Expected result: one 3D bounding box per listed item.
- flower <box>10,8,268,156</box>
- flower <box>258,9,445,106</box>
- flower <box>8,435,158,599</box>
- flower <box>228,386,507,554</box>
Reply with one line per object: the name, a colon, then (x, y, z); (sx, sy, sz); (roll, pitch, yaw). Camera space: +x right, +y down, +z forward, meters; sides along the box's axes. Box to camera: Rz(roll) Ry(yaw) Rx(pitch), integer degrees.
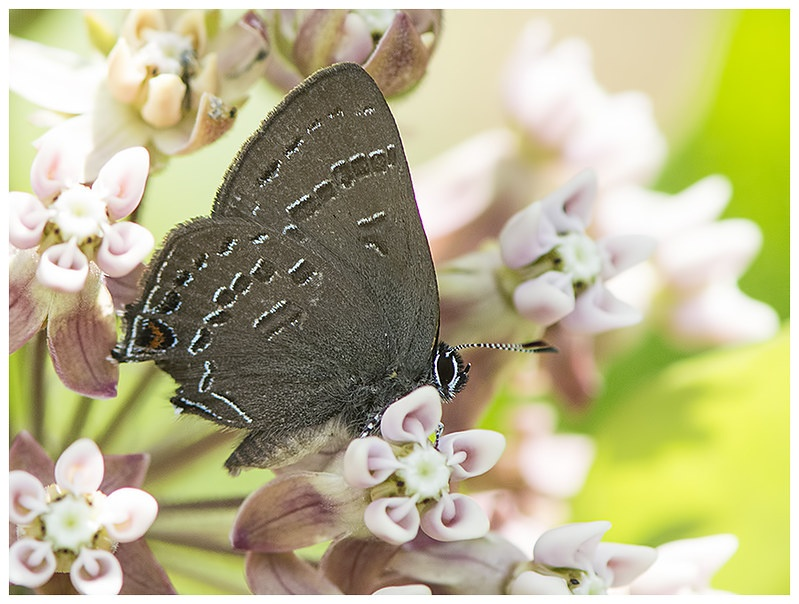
flower: (-0.555, -0.482, 1.797); (0.426, 0.373, 0.185); (5, -21, -22)
flower: (-0.094, -0.576, 1.787); (0.240, 0.268, 0.123); (36, -45, 34)
flower: (-0.629, 0.412, 1.635); (0.315, 0.310, 0.125); (-6, -7, -25)
flower: (-0.079, 0.385, 1.752); (0.577, 0.487, 0.202); (10, -73, -7)
